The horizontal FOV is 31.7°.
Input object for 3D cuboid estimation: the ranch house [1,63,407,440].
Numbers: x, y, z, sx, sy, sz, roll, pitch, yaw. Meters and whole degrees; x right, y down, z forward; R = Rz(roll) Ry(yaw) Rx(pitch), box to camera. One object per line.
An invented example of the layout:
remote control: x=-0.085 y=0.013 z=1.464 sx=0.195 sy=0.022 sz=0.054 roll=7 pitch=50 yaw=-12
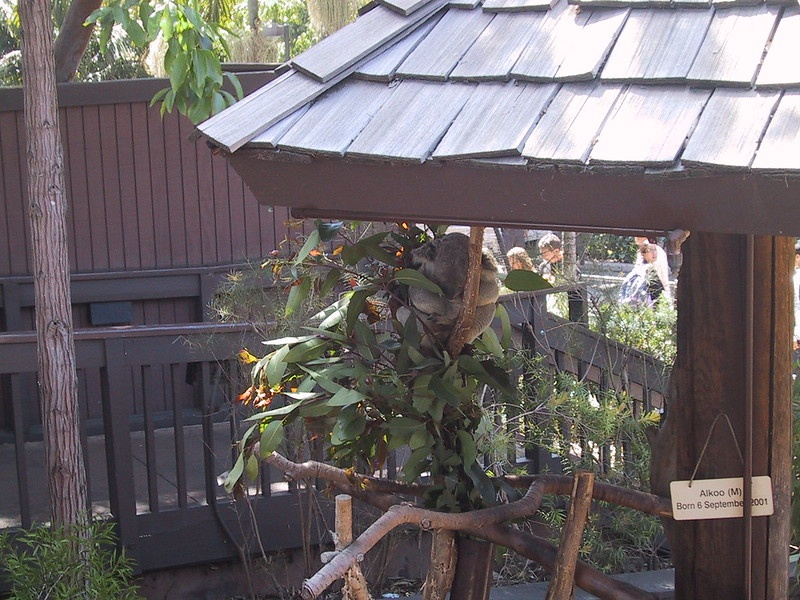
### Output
ranch house: x=-1.157 y=-0.215 z=7.541 sx=2.366 sy=1.868 sz=0.053 roll=-2 pitch=4 yaw=-13

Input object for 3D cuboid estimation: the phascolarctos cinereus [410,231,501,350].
phascolarctos cinereus: x=0.216 y=-0.054 z=5.632 sx=0.319 sy=0.461 sz=0.197 roll=-1 pitch=10 yaw=8

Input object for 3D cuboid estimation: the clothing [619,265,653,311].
clothing: x=1.500 y=-0.060 z=8.986 sx=0.076 sy=0.251 sz=0.204 roll=18 pitch=24 yaw=-39

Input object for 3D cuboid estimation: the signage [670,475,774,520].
signage: x=1.277 y=0.794 z=5.588 sx=0.397 sy=0.186 sz=0.008 roll=-4 pitch=19 yaw=8
